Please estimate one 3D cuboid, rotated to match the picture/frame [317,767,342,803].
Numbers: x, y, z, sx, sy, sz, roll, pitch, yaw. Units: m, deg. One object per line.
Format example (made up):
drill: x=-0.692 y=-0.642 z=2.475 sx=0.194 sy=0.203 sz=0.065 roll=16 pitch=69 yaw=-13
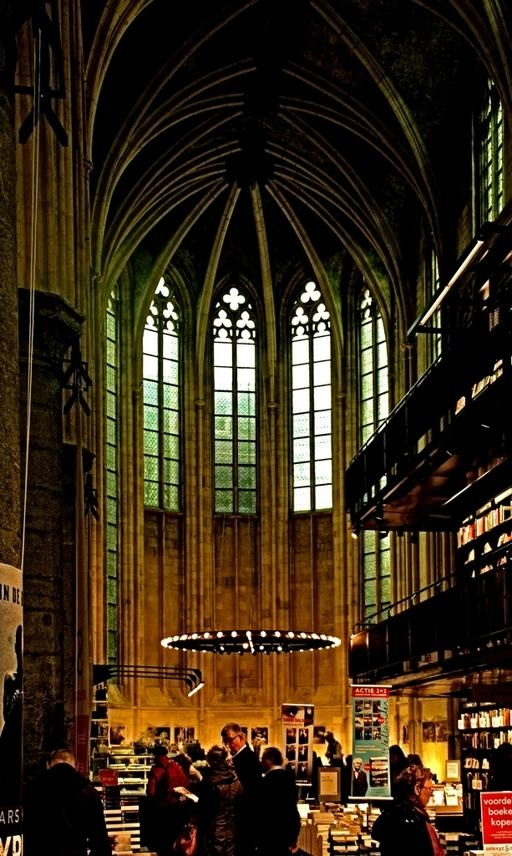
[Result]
picture/frame: x=0.786 y=3.786 z=15.463 sx=0.260 sy=0.495 sz=0.301 roll=-1 pitch=-4 yaw=0
